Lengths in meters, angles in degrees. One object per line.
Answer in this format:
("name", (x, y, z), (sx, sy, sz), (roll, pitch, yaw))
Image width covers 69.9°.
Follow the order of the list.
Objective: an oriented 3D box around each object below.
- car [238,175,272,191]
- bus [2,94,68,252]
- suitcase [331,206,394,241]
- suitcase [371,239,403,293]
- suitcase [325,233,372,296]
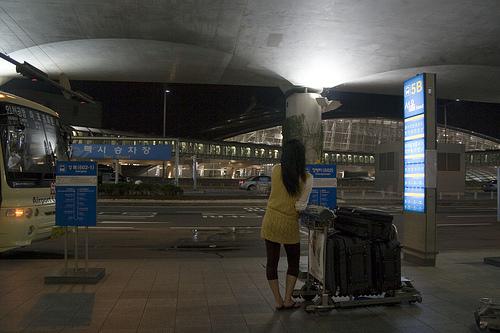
("car", (0.387, 1.770, 38.639), (4.020, 1.217, 1.622), (-2, 2, -12))
("bus", (-6.834, 0.077, 11.354), (1.294, 5.235, 2.554), (1, 0, 5))
("suitcase", (2.331, 1.182, 7.681), (1.036, 0.472, 0.796), (6, 1, -30))
("suitcase", (2.950, 2.130, 7.645), (0.757, 0.957, 0.205), (1, 0, -19))
("suitcase", (2.145, 2.165, 7.985), (1.113, 1.157, 1.277), (0, -12, -1))
